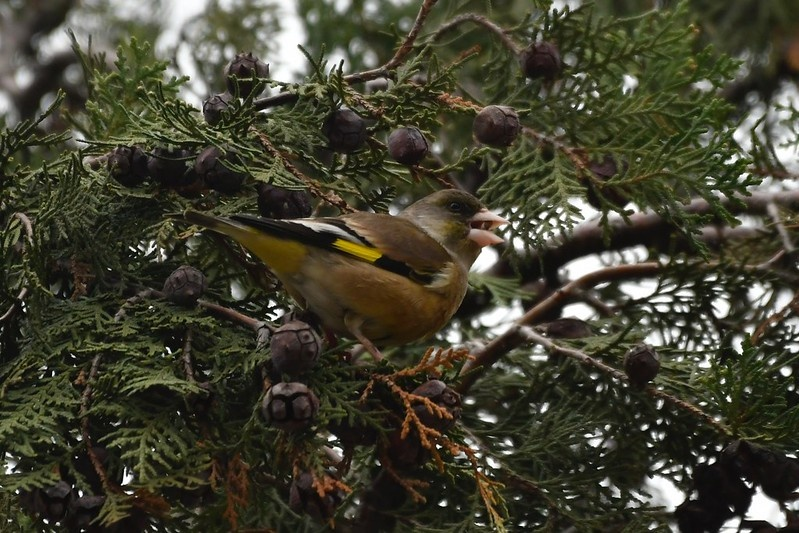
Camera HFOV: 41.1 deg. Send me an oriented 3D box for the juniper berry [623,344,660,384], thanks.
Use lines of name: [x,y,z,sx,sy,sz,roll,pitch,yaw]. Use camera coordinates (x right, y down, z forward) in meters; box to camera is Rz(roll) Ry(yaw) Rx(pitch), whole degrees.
juniper berry: [1.254,0.515,5.558,0.195,0.215,0.193,10,-4,-41]

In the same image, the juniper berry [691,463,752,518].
juniper berry: [1.668,1.145,5.524,0.305,0.187,0.124,19,-9,18]

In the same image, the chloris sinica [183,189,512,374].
chloris sinica: [-0.340,0.068,5.805,1.363,0.755,0.448,20,-34,-17]

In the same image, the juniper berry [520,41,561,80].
juniper berry: [0.789,-1.144,5.949,0.185,0.179,0.229,-3,0,7]

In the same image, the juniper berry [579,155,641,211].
juniper berry: [1.126,-0.482,5.760,0.297,0.279,0.082,-4,-1,22]
